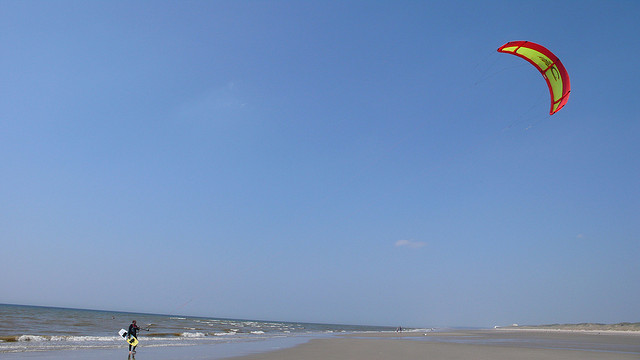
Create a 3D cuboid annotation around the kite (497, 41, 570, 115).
[{"bbox_3d":[21.444,-9.899,46.353,3.137,5.984,5.272,-23,-34,39],"label":"kite"}]
